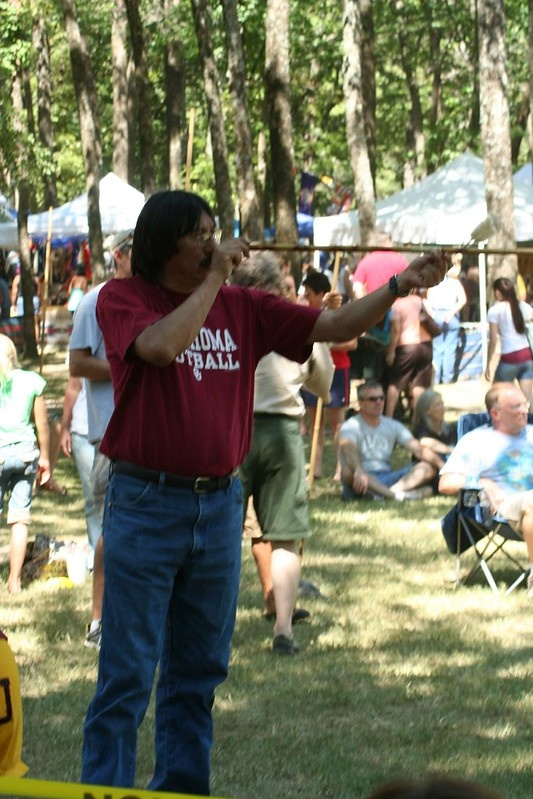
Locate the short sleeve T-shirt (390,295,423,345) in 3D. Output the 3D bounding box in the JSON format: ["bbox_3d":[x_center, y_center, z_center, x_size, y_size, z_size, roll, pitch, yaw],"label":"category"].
[{"bbox_3d":[1.242,-0.706,11.436,0.339,0.623,0.328,1,11,3],"label":"short sleeve T-shirt"}]

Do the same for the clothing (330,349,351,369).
[{"bbox_3d":[0.575,-0.321,10.194,0.136,0.273,0.125,0,-6,-8],"label":"clothing"}]

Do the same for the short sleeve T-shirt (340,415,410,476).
[{"bbox_3d":[0.824,0.323,10.005,0.540,0.643,0.345,2,-6,-25],"label":"short sleeve T-shirt"}]

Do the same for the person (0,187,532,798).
[{"bbox_3d":[-0.180,0.307,3.781,0.804,1.828,0.443,-3,5,-34],"label":"person"}]

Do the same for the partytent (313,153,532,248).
[{"bbox_3d":[2.375,-2.700,18.141,2.298,1.516,2.946,-4,10,-12],"label":"partytent"}]

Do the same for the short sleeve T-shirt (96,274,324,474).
[{"bbox_3d":[-0.198,-0.075,4.083,0.499,0.677,0.287,15,-22,-31],"label":"short sleeve T-shirt"}]
